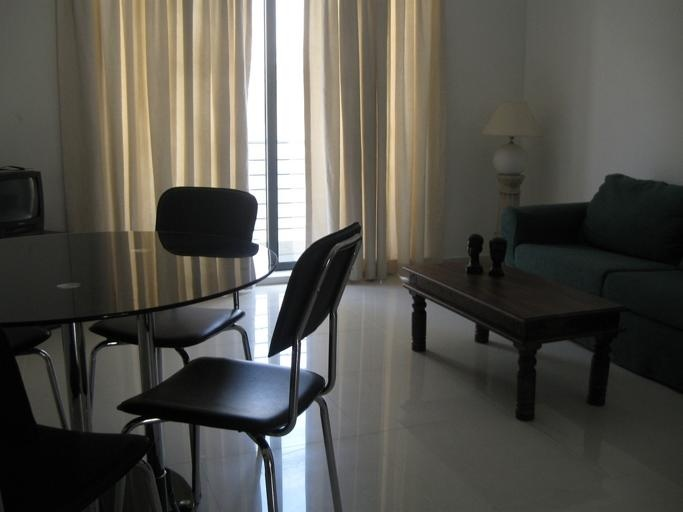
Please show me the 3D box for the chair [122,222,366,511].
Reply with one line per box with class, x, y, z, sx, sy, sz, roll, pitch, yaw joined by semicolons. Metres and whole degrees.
chair;-0.268;0.165;2.401;0.894;1.550;0.803;5;10;15
